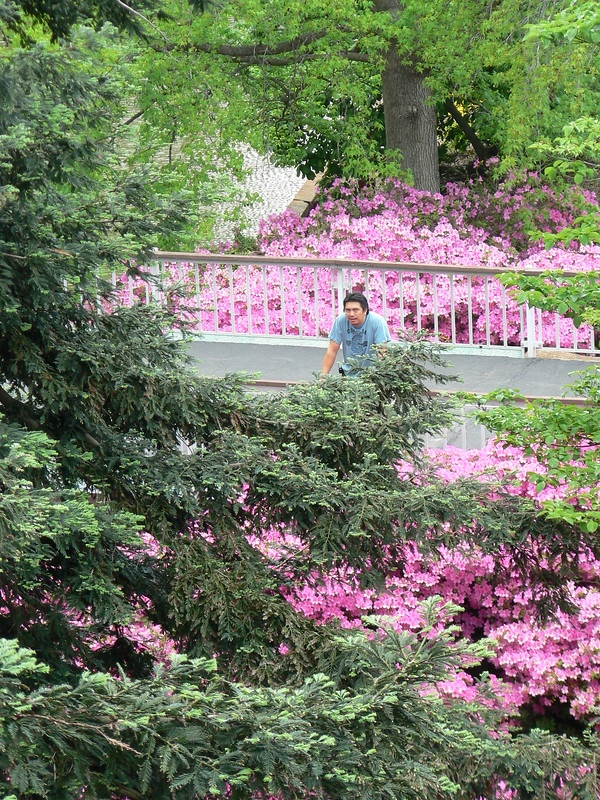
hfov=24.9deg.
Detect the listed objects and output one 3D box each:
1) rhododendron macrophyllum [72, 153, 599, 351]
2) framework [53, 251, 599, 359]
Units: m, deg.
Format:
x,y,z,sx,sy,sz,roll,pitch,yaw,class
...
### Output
x,y,z,sx,sy,sz,roll,pitch,yaw,class
0.890,-1.205,11.946,2.731,1.030,3.060,-5,12,-23,rhododendron macrophyllum
0.474,-0.838,11.568,3.479,0.691,3.641,0,0,12,framework
